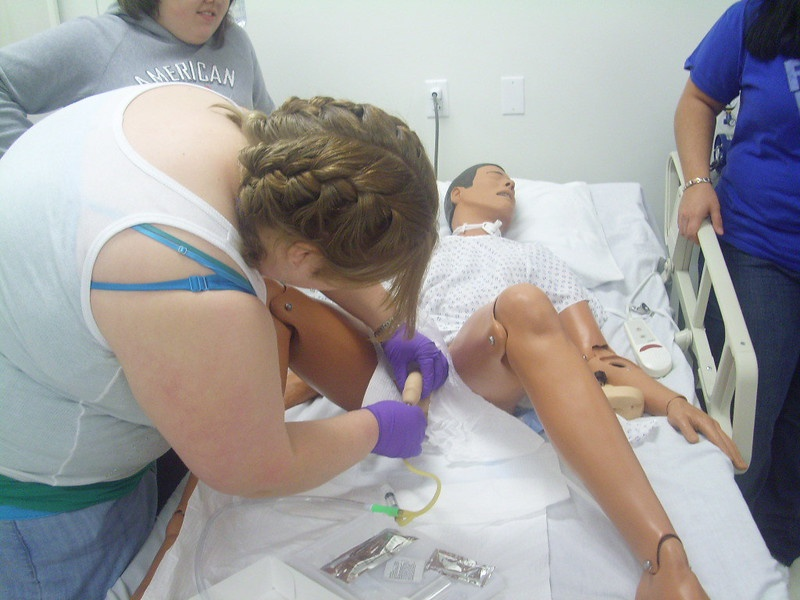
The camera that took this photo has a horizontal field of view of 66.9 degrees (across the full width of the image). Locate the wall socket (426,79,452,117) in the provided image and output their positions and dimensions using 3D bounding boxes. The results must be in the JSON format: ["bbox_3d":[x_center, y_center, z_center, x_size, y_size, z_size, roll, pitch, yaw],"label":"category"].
[{"bbox_3d":[0.162,-0.860,2.566,0.098,0.189,0.027,0,58,6],"label":"wall socket"}]

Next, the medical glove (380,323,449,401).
[{"bbox_3d":[0.030,0.151,1.501,0.176,0.079,0.123,43,66,13],"label":"medical glove"}]

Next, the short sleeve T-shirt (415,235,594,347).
[{"bbox_3d":[0.298,-0.009,1.873,0.515,0.254,0.288,10,59,39],"label":"short sleeve T-shirt"}]
